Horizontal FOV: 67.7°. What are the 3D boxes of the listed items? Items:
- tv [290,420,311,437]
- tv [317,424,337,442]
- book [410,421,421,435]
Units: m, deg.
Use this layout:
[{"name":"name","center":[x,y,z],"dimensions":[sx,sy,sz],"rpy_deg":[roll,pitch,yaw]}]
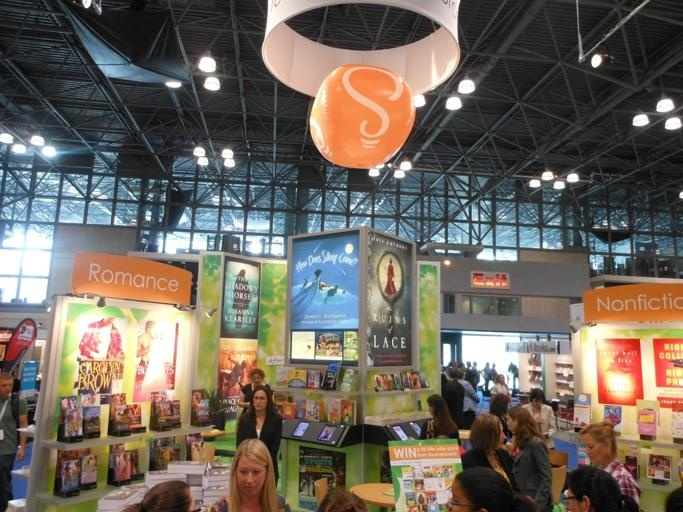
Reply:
[{"name":"tv","center":[-0.499,2.109,6.204],"dimensions":[0.169,0.159,0.042],"rpy_deg":[-6,-46,27]},{"name":"tv","center":[-0.154,2.078,5.963],"dimensions":[0.216,0.168,0.186],"rpy_deg":[-2,-9,19]},{"name":"book","center":[0.939,2.146,6.349],"dimensions":[0.131,0.119,0.231],"rpy_deg":[-1,28,4]}]
